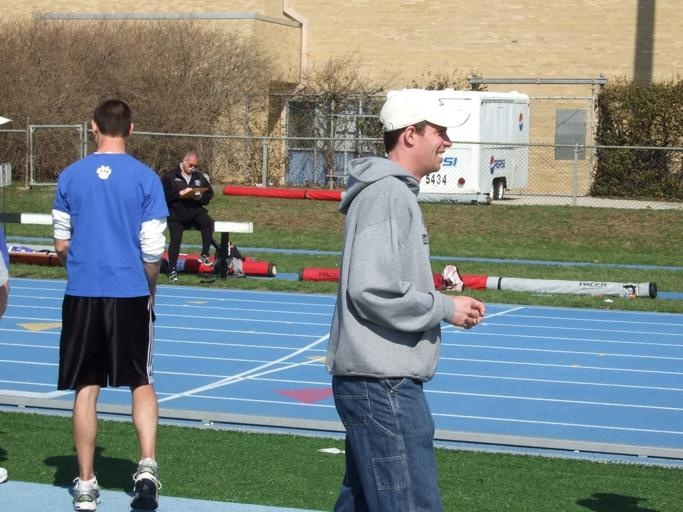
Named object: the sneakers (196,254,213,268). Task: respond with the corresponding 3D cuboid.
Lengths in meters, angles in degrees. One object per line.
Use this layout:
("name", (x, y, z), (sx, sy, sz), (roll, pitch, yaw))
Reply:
("sneakers", (-2.498, 0.076, 22.392), (0.332, 0.151, 0.141), (9, 41, 10))

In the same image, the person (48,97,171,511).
("person", (-2.469, 0.494, 12.998), (1.203, 4.330, 0.974), (0, 6, -8))

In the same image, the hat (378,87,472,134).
("hat", (0.910, -1.409, 11.991), (0.872, 0.323, 0.573), (-3, 4, 30))
